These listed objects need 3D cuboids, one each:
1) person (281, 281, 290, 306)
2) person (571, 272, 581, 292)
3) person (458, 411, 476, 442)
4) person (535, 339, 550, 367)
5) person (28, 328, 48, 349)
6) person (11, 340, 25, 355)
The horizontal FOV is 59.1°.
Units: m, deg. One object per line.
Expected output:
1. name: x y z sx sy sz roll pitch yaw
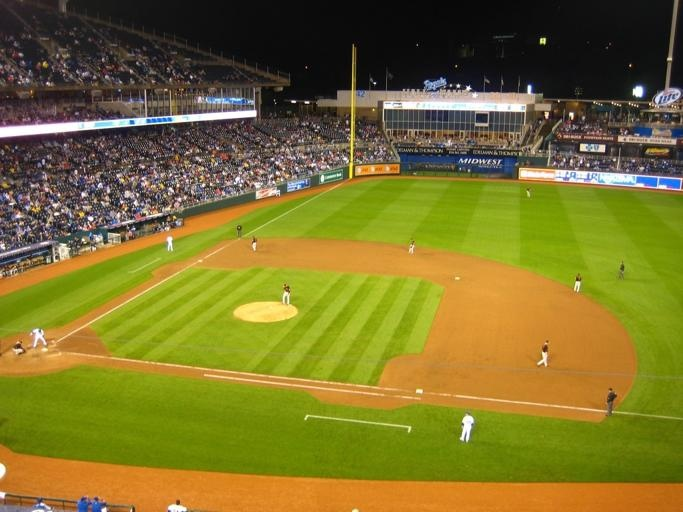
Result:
1. person: -3.311 2.137 36.134 0.538 1.267 1.837 0 17 -6
2. person: 15.191 1.609 38.625 0.476 1.101 1.540 8 18 21
3. person: 5.254 7.034 25.100 0.531 1.117 1.029 5 17 12
4. person: 10.242 4.672 30.347 0.594 1.298 2.023 8 18 20
5. person: -16.059 4.206 31.851 0.745 0.988 1.990 -7 20 -28
6. person: -16.551 4.709 30.798 0.592 0.425 0.807 2 17 -46
